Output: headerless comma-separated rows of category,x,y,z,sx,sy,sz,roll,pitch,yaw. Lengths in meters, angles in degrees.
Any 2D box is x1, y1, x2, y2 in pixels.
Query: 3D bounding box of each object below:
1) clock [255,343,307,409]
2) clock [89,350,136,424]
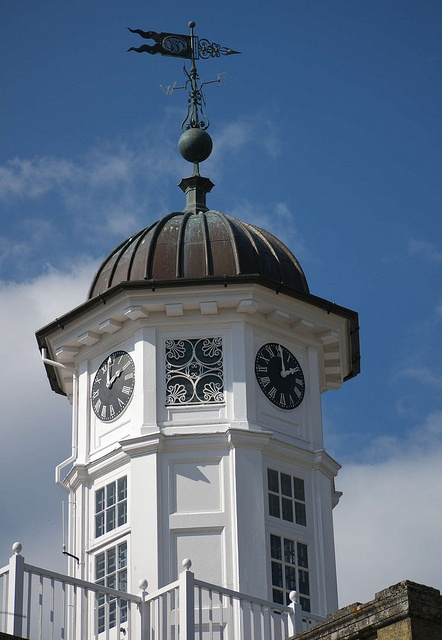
clock,1.135,1.135,37.929,0.070,1.018,1.009,-26,-37,19
clock,-2.127,1.307,38.037,0.104,1.447,1.307,19,-35,-34
